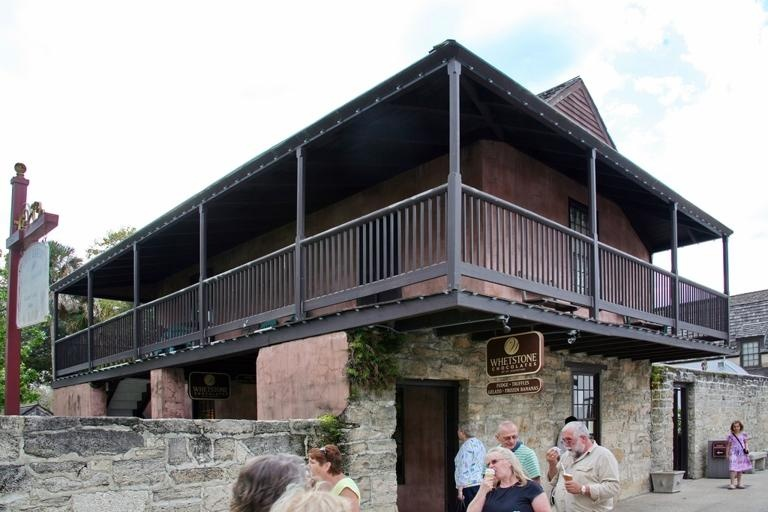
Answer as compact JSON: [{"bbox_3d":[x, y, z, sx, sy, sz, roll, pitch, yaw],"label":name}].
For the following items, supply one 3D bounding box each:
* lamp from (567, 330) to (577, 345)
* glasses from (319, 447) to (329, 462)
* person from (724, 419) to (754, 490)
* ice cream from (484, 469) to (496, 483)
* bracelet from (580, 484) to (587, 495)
[{"bbox_3d":[3.478,1.471,16.233,0.182,0.245,0.590,-4,-20,12],"label":"lamp"},{"bbox_3d":[-0.830,2.761,12.436,0.102,0.146,0.137,-6,-6,42],"label":"glasses"},{"bbox_3d":[8.474,4.769,21.284,0.539,1.577,1.071,-7,-20,20],"label":"person"},{"bbox_3d":[1.399,2.906,11.829,0.141,0.145,0.138,8,-15,-34],"label":"ice cream"},{"bbox_3d":[2.934,3.411,13.000,0.070,0.125,0.111,0,-7,8],"label":"bracelet"}]
